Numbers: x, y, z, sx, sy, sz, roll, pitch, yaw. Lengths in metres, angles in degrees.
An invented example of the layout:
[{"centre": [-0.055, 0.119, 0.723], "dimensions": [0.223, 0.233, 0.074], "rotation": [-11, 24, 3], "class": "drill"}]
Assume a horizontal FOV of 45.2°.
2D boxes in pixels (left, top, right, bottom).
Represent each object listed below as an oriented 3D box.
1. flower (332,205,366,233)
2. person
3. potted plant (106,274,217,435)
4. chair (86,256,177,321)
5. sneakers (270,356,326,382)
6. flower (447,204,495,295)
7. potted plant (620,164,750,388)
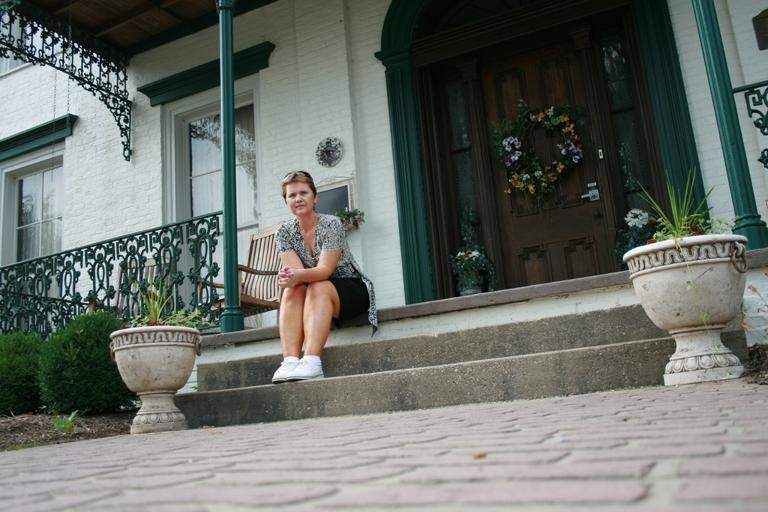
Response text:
[{"centre": [-0.357, -0.414, 10.395], "dimensions": [0.279, 0.195, 0.252], "rotation": [-2, -4, 41], "class": "flower"}, {"centre": [-0.525, 0.128, 7.713], "dimensions": [0.817, 1.574, 1.035], "rotation": [-4, 11, 4], "class": "person"}, {"centre": [-1.954, 0.879, 7.993], "dimensions": [0.850, 1.251, 0.803], "rotation": [-3, -12, -8], "class": "potted plant"}, {"centre": [-2.698, 0.346, 9.960], "dimensions": [0.619, 1.094, 0.724], "rotation": [-1, -6, 24], "class": "chair"}, {"centre": [-0.680, 0.912, 7.442], "dimensions": [0.311, 0.136, 0.229], "rotation": [6, -12, -35], "class": "sneakers"}, {"centre": [0.945, -0.047, 10.189], "dimensions": [0.452, 0.875, 0.560], "rotation": [-7, 11, -11], "class": "flower"}, {"centre": [2.484, 0.069, 7.467], "dimensions": [0.861, 1.353, 2.132], "rotation": [0, 12, 21], "class": "potted plant"}]
